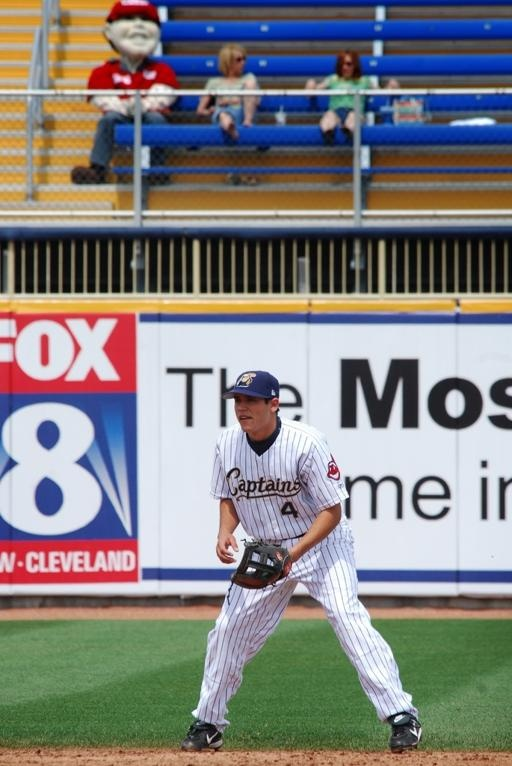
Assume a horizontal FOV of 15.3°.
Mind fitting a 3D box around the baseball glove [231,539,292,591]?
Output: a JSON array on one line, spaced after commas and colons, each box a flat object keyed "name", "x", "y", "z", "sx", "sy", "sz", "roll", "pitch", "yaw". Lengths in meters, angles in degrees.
[{"name": "baseball glove", "x": 0.025, "y": 0.969, "z": 10.133, "sx": 0.241, "sy": 0.257, "sz": 0.141, "roll": -2, "pitch": -13, "yaw": 3}]

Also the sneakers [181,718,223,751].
[{"name": "sneakers", "x": -0.295, "y": 1.931, "z": 10.445, "sx": 0.211, "sy": 0.199, "sz": 0.124, "roll": 6, "pitch": -7, "yaw": -8}]

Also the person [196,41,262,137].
[{"name": "person", "x": -0.190, "y": -2.170, "z": 14.090, "sx": 0.340, "sy": 0.687, "sz": 0.782, "roll": -1, "pitch": 5, "yaw": -8}]

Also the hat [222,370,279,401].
[{"name": "hat", "x": -0.007, "y": 0.012, "z": 10.241, "sx": 0.201, "sy": 0.149, "sz": 0.154, "roll": 14, "pitch": -8, "yaw": -33}]

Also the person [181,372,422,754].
[{"name": "person", "x": 0.199, "y": 0.938, "z": 10.535, "sx": 1.164, "sy": 2.500, "sz": 1.052, "roll": -4, "pitch": 26, "yaw": 0}]

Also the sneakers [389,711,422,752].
[{"name": "sneakers", "x": 0.792, "y": 1.887, "z": 10.241, "sx": 0.179, "sy": 0.212, "sz": 0.175, "roll": 0, "pitch": -6, "yaw": -3}]

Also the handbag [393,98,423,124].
[{"name": "handbag", "x": 1.080, "y": -1.969, "z": 13.810, "sx": 0.165, "sy": 0.202, "sz": 0.122, "roll": 1, "pitch": 0, "yaw": -5}]

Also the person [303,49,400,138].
[{"name": "person", "x": 0.616, "y": -2.160, "z": 14.184, "sx": 0.402, "sy": 0.518, "sz": 0.799, "roll": 1, "pitch": 29, "yaw": 8}]
